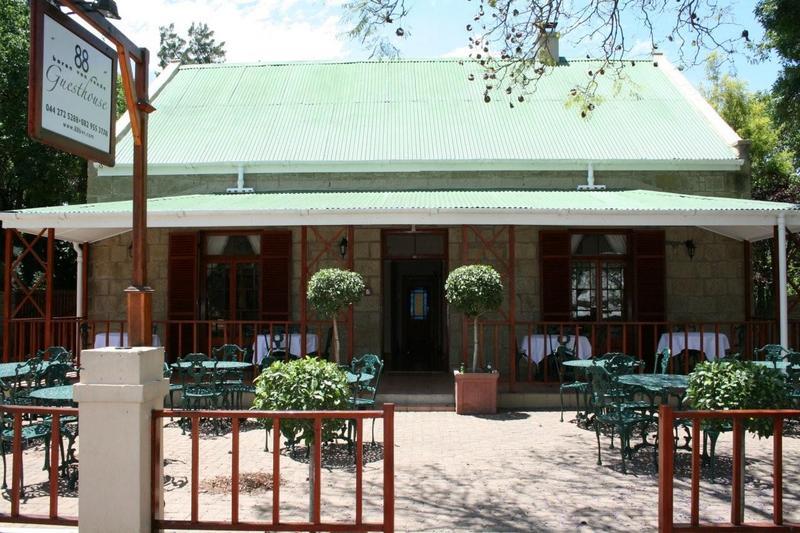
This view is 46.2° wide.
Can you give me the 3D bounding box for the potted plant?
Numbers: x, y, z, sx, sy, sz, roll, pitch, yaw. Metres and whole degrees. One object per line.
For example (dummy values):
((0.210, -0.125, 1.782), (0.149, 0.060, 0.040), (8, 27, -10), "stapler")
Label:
((1.470, 1.424, 18.323), (1.053, 2.815, 2.129), (-2, -6, 5), "potted plant")
